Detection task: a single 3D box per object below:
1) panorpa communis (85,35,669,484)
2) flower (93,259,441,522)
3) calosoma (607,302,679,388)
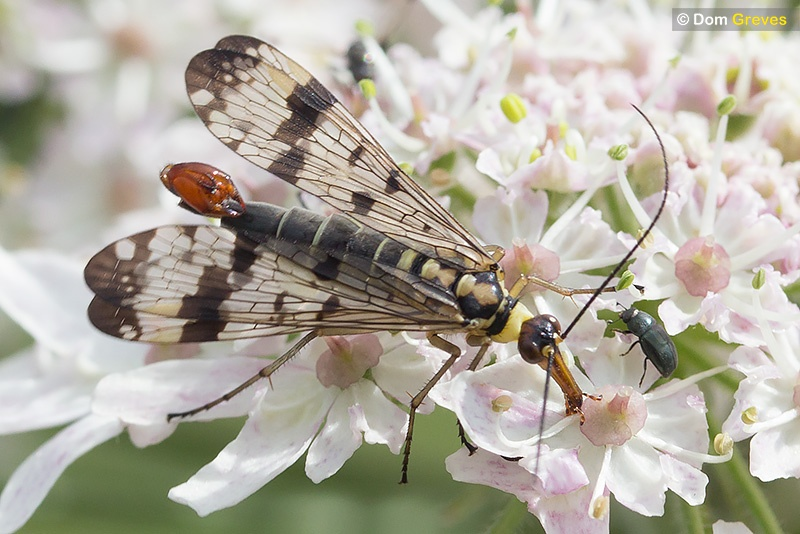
[{"bbox_3d":[-0.020,-0.027,1.442,1.048,0.305,0.720,18,68,24],"label":"panorpa communis"},{"bbox_3d":[-0.176,0.273,1.310,0.483,0.158,0.219,-23,38,-18],"label":"flower"},{"bbox_3d":[0.423,0.140,1.338,0.095,0.128,0.047,-40,3,-38],"label":"calosoma"}]
